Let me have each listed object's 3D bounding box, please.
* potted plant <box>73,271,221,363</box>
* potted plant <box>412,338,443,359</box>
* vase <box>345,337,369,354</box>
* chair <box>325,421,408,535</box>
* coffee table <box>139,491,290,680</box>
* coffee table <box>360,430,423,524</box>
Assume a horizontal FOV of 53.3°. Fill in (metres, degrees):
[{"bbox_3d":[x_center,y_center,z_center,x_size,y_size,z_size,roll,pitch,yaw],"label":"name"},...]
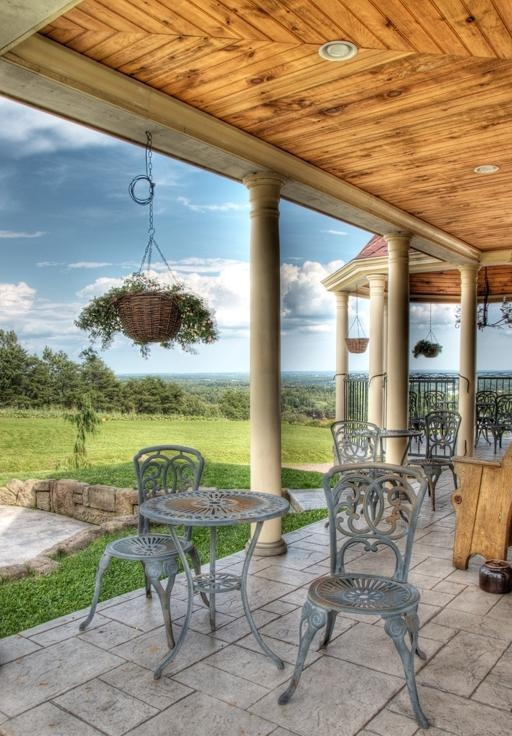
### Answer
[{"bbox_3d":[-1.403,-0.659,6.920,1.508,0.620,1.157,7,-14,-2],"label":"potted plant"},{"bbox_3d":[4.145,-0.475,12.390,0.595,0.466,0.629,0,-8,-17],"label":"potted plant"},{"bbox_3d":[1.746,-0.380,8.649,0.324,0.206,0.306,-1,-3,-1],"label":"vase"},{"bbox_3d":[0.914,0.883,4.538,0.675,0.793,0.661,4,-9,-18],"label":"chair"},{"bbox_3d":[-0.183,0.977,2.375,0.703,0.654,0.642,0,-5,-13],"label":"coffee table"},{"bbox_3d":[1.556,0.988,5.513,0.696,0.642,0.626,1,0,3],"label":"coffee table"}]
